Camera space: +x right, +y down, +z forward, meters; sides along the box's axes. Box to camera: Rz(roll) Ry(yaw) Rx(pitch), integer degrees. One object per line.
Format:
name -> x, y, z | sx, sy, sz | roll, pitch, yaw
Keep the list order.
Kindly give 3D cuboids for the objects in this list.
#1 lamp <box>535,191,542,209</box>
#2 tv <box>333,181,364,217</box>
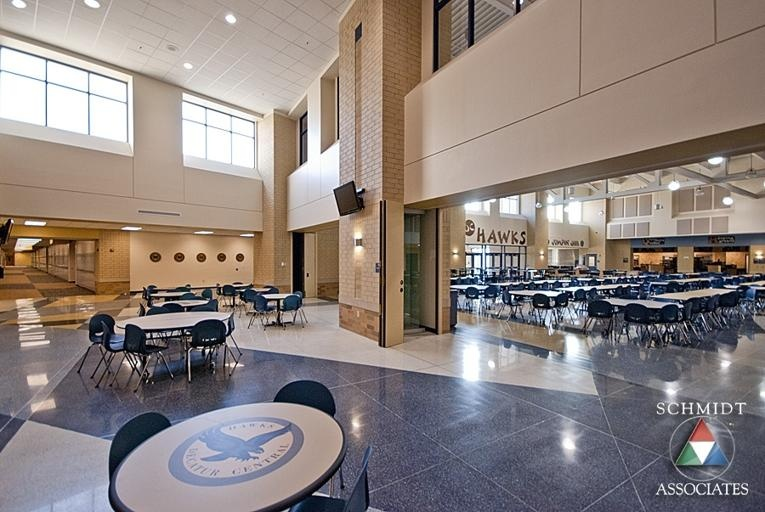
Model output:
lamp -> 8.312, -2.991, 25.628 | 0.415, 0.837, 2.275 | 4, 12, 19
tv -> -0.794, -1.430, 12.272 | 0.545, 0.739, 1.013 | 1, -7, -45
